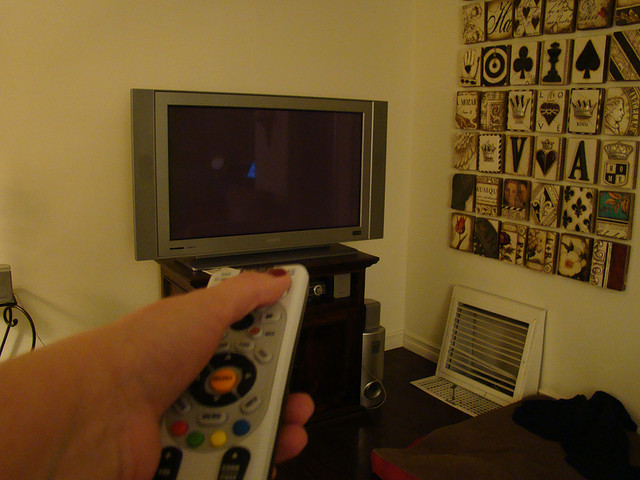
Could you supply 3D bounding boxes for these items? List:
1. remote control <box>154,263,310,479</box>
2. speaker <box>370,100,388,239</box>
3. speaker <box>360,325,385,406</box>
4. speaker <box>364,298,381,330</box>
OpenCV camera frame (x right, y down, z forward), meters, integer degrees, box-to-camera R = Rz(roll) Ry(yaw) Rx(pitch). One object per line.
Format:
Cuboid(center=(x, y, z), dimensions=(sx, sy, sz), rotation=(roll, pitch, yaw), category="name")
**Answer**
Cuboid(center=(-0.142, 0.213, 0.837), dimensions=(0.262, 0.328, 0.139), rotation=(-4, 9, -24), category="remote control")
Cuboid(center=(0.282, -0.403, 2.335), dimensions=(0.090, 0.479, 0.043), rotation=(-1, -5, 15), category="speaker")
Cuboid(center=(0.257, 0.576, 2.365), dimensions=(0.067, 0.367, 0.177), rotation=(5, 10, 34), category="speaker")
Cuboid(center=(0.239, 0.346, 2.386), dimensions=(0.087, 0.122, 0.123), rotation=(1, -7, 1), category="speaker")
